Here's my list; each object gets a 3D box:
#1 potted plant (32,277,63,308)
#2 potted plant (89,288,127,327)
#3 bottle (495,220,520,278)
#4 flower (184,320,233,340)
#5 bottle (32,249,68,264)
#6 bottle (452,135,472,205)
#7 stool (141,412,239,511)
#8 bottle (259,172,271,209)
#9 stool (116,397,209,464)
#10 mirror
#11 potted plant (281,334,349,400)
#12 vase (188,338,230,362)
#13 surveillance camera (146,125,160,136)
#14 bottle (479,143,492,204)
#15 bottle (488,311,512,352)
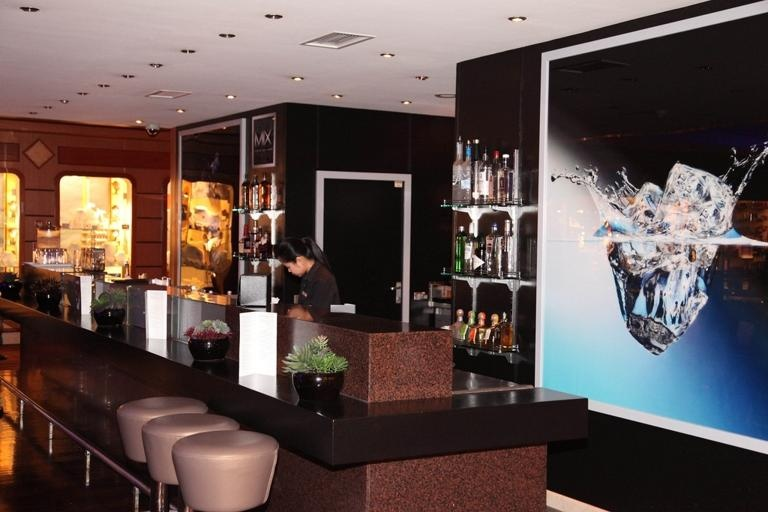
[{"bbox_3d":[-3.516,0.395,6.092,0.347,0.316,0.344,0,-5,28],"label":"potted plant"},{"bbox_3d":[-2.269,0.433,4.857,0.303,0.314,0.297,-2,-5,12],"label":"potted plant"},{"bbox_3d":[1.040,-0.061,4.835,0.202,0.493,0.116,2,3,13],"label":"bottle"},{"bbox_3d":[-1.147,0.481,3.748,0.286,0.106,0.213,-1,3,-28],"label":"flower"},{"bbox_3d":[-4.260,0.007,7.188,0.460,0.194,0.183,1,3,12],"label":"bottle"},{"bbox_3d":[0.677,-0.701,4.941,0.163,0.544,0.238,1,3,8],"label":"bottle"},{"bbox_3d":[-1.085,1.114,3.263,0.481,0.483,0.460,3,1,30],"label":"stool"},{"bbox_3d":[-1.589,-0.829,7.555,0.125,0.461,0.278,-1,4,-35],"label":"bottle"},{"bbox_3d":[-1.322,0.975,3.434,0.445,0.261,0.438,7,-6,-37],"label":"stool"},{"bbox_3d":[-2.688,-0.726,8.722,0.378,2.511,2.013,-1,4,-35],"label":"mirror"},{"bbox_3d":[-0.348,0.539,2.827,0.310,0.249,0.299,1,0,-9],"label":"potted plant"},{"bbox_3d":[-1.137,0.604,3.715,0.257,0.157,0.156,0,3,-24],"label":"vase"},{"bbox_3d":[-3.705,-1.989,9.133,0.202,0.133,0.197,0,1,5],"label":"surveillance camera"},{"bbox_3d":[0.864,-0.649,4.876,0.100,0.442,0.202,1,3,10],"label":"bottle"},{"bbox_3d":[0.991,0.644,4.840,0.155,0.316,0.174,0,3,-22],"label":"bottle"}]
